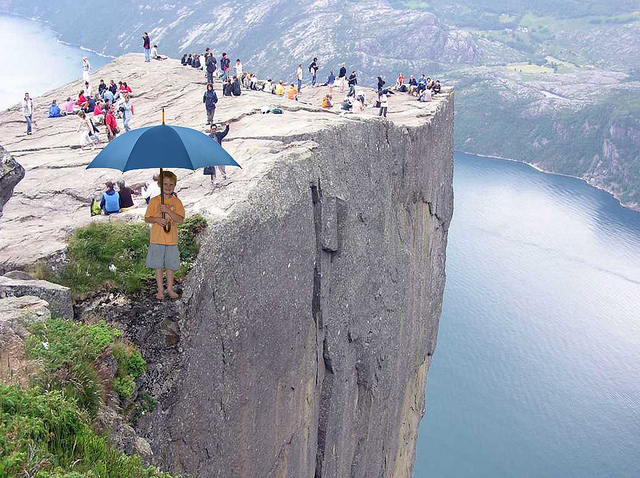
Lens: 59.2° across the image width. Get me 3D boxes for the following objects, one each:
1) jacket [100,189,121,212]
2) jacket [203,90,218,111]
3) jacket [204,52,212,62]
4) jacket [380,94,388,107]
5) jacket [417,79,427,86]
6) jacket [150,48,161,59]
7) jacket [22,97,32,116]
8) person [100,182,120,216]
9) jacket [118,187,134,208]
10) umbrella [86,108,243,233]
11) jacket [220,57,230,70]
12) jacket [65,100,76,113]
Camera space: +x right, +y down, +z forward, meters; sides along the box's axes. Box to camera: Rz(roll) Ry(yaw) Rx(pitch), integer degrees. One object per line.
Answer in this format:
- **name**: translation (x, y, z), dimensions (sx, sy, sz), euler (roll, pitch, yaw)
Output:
- **jacket**: translation (-7.897, -1.407, 21.606), dimensions (0.739, 0.847, 0.710), euler (-5, 17, -16)
- **jacket**: translation (-6.134, -7.754, 31.829), dimensions (0.625, 1.163, 0.540), euler (-10, 23, -19)
- **jacket**: translation (-8.493, -13.771, 43.261), dimensions (0.399, 0.704, 2.791), euler (-7, 25, -12)
- **jacket**: translation (4.360, -9.468, 38.970), dimensions (0.363, 0.971, 0.767), euler (-2, 23, -2)
- **jacket**: translation (9.086, -13.907, 50.429), dimensions (0.781, 0.742, 1.775), euler (3, 24, 10)
- **jacket**: translation (-15.493, -17.564, 53.744), dimensions (0.670, 1.205, 1.000), euler (20, 31, 33)
- **jacket**: translation (-19.718, -8.814, 38.112), dimensions (0.348, 1.225, 0.820), euler (-12, 25, -26)
- **person**: translation (-8.037, -1.534, 21.672), dimensions (0.682, 1.423, 0.969), euler (-11, 28, -37)
- **jacket**: translation (-7.513, -1.560, 21.940), dimensions (0.702, 0.770, 0.409), euler (-5, 16, -20)
- **umbrella**: translation (-4.530, -2.408, 16.905), dimensions (2.794, 2.832, 2.977), euler (-7, 42, -15)
- **jacket**: translation (-7.885, -14.539, 47.071), dimensions (0.665, 0.942, 1.112), euler (-4, 23, -7)
- **jacket**: translation (-18.688, -9.879, 42.353), dimensions (0.835, 0.909, 1.167), euler (-6, 24, -11)
